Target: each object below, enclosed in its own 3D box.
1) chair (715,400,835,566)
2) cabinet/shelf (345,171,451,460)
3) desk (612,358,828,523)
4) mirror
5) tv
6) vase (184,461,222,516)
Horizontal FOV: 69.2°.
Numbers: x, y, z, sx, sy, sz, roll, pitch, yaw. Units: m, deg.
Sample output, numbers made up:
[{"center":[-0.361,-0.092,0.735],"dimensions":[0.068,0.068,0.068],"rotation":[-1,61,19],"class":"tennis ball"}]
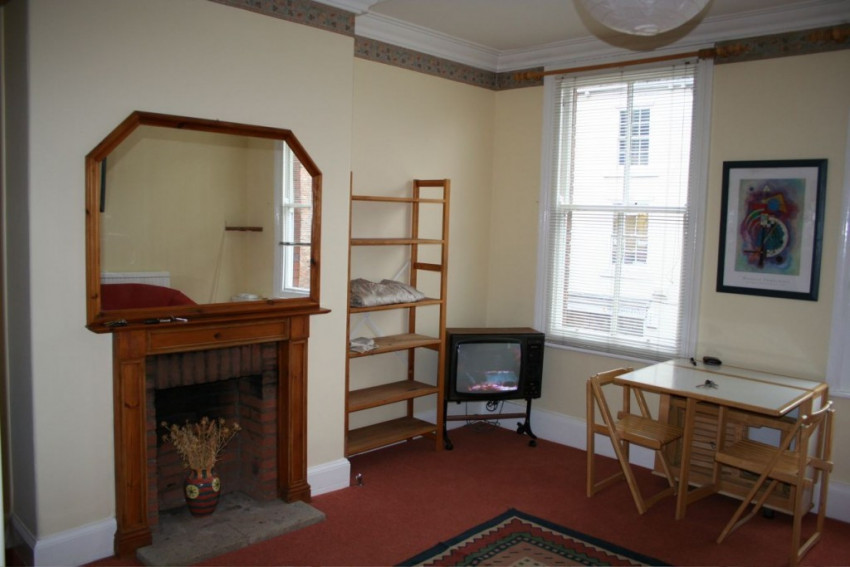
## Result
[{"center":[2.483,1.260,4.389],"dimensions":[0.722,0.959,0.936],"rotation":[11,15,35],"class":"chair"},{"center":[-0.214,0.263,5.319],"dimensions":[1.397,2.325,0.687],"rotation":[-8,16,-37],"class":"cabinet/shelf"},{"center":[2.222,0.931,4.723],"dimensions":[1.127,1.137,1.438],"rotation":[-5,7,-41],"class":"desk"},{"center":[-1.524,-0.438,4.038],"dimensions":[1.557,1.218,0.162],"rotation":[-4,6,-39],"class":"mirror"},{"center":[0.748,0.803,5.661],"dimensions":[0.957,0.608,0.578],"rotation":[-4,-14,21],"class":"tv"},{"center":[-1.600,1.435,4.357],"dimensions":[0.371,0.321,0.359],"rotation":[-1,-3,-25],"class":"vase"}]
